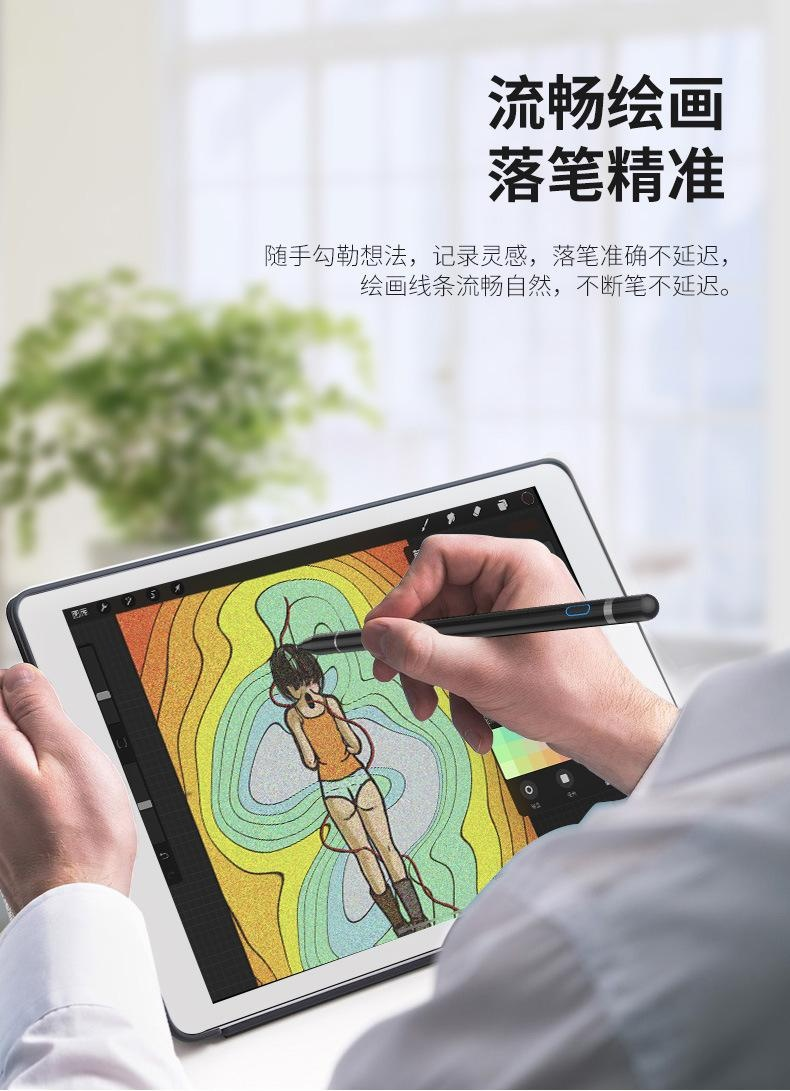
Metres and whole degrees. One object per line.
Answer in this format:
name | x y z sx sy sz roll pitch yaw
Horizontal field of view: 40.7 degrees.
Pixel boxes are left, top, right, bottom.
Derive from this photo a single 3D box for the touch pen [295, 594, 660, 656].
touch pen | 0.044 0.047 0.620 0.264 0.020 0.019 -5 75 22
